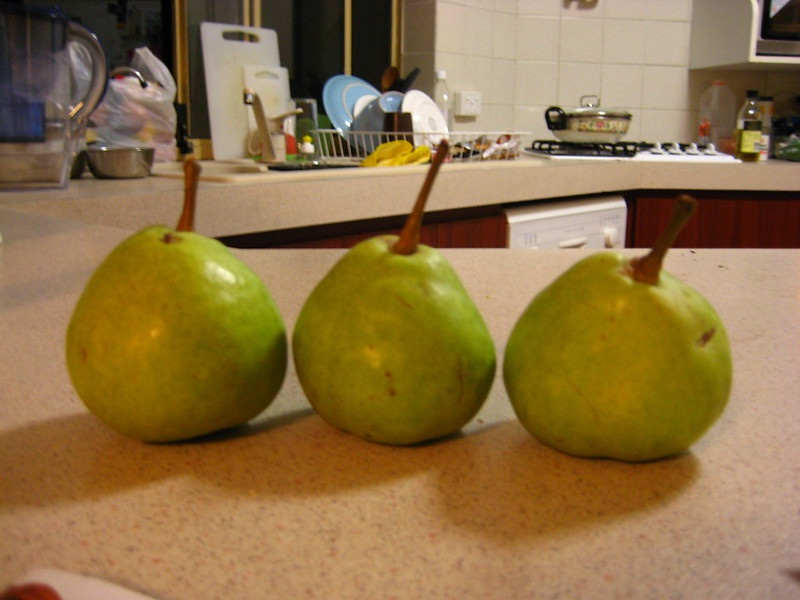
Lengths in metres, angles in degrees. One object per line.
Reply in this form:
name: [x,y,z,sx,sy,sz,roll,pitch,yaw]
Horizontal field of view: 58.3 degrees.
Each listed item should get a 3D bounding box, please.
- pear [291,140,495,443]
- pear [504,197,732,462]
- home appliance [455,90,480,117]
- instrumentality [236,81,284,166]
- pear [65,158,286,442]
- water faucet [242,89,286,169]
pear: [-0.003,-0.005,0.301,0.080,0.122,0.053,15,22,31]
pear: [0.108,0.017,0.362,0.083,0.148,0.099,18,11,24]
home appliance: [0.220,-0.658,2.404,0.024,0.073,0.074,9,13,43]
instrumentality: [-0.323,-0.408,1.733,0.082,0.176,0.152,-3,5,22]
pear: [-0.096,0.001,0.319,0.084,0.131,0.083,-5,18,-29]
water faucet: [-0.329,-0.396,1.707,0.072,0.152,0.127,1,-12,31]
